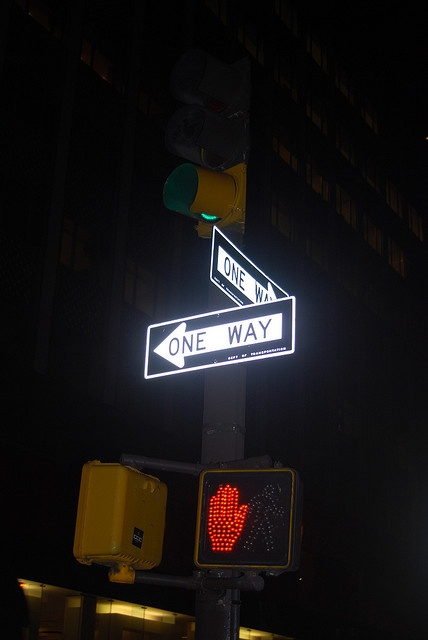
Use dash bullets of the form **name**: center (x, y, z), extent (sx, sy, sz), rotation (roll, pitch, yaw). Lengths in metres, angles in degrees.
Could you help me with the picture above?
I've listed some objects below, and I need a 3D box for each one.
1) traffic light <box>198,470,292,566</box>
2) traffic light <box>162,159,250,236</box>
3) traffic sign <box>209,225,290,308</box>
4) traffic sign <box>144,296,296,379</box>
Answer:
- **traffic light**: center (0.175, 1.009, 3.766), extent (0.329, 0.444, 0.144), rotation (-4, -19, 29)
- **traffic light**: center (-0.065, -0.758, 5.263), extent (0.427, 0.692, 0.465), rotation (0, 0, -34)
- **traffic sign**: center (0.253, -0.255, 5.302), extent (0.015, 0.601, 1.439), rotation (-21, -22, 16)
- **traffic sign**: center (0.025, 0.110, 4.817), extent (1.163, 0.522, 0.234), rotation (-5, -15, 38)
